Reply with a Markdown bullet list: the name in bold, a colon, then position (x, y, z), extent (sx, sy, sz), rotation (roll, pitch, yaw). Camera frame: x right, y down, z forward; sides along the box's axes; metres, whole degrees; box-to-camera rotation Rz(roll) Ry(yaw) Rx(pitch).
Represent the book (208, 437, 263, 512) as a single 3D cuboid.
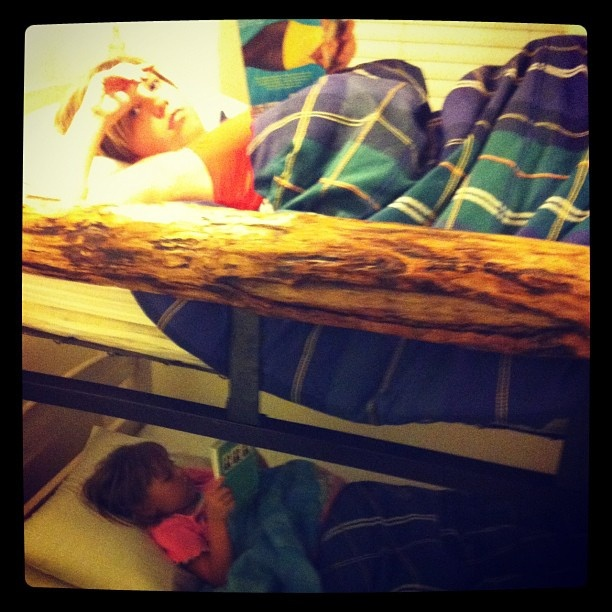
- **book**: position (-0.142, 0.347, 1.238), extent (0.138, 0.125, 0.127), rotation (16, -9, 0)
